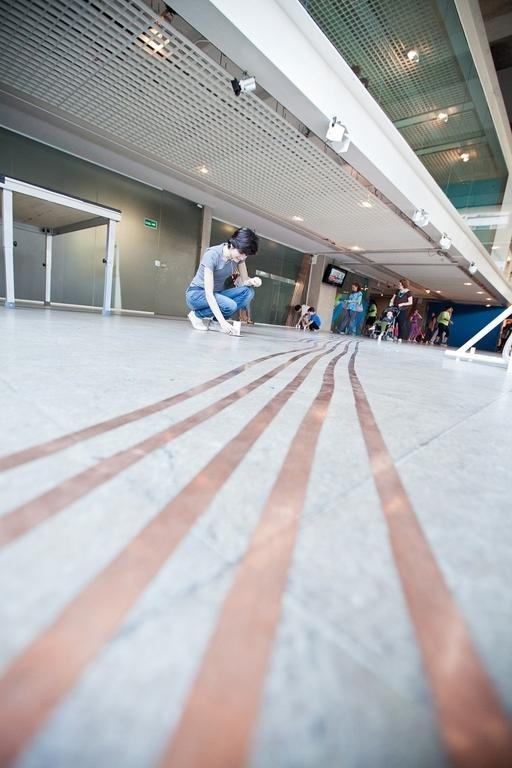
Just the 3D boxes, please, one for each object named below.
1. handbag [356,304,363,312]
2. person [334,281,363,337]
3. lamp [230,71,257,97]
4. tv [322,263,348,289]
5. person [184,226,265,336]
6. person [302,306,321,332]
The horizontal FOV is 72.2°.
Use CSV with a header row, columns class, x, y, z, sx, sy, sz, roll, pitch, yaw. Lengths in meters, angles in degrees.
class,x,y,z,sx,sy,sz,roll,pitch,yaw
handbag,3.305,-2.394,10.962,0.109,0.260,1.425,13,10,17
person,3.141,-2.465,11.304,0.649,1.551,0.725,-4,16,-36
lamp,-0.104,-2.520,2.967,0.248,0.164,0.103,-14,11,-18
tv,2.434,-3.358,10.811,1.129,0.574,0.147,2,19,-45
person,-0.316,-0.897,3.315,0.634,0.813,1.309,6,10,-13
person,1.663,-1.965,10.323,0.473,0.703,1.532,10,9,6
